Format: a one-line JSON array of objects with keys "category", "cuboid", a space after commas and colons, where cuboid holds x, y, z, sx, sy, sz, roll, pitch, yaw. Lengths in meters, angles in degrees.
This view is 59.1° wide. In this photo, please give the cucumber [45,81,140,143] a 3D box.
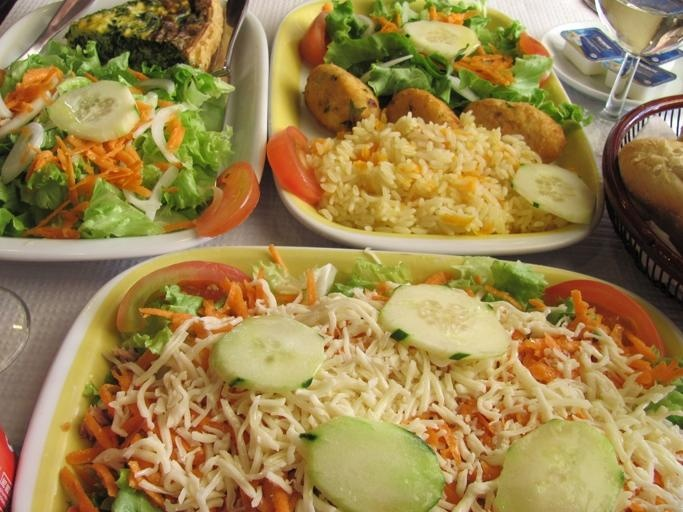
[{"category": "cucumber", "cuboid": [-0.813, -0.476, 1.987, 0.224, 0.041, 0.231, -36, 65, -20]}]

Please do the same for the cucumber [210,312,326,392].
[{"category": "cucumber", "cuboid": [-0.179, 0.235, 1.478, 0.264, 0.042, 0.186, 6, 62, 5]}]

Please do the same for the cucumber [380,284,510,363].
[{"category": "cucumber", "cuboid": [0.271, 0.162, 1.552, 0.326, 0.065, 0.207, 19, 64, 12]}]
